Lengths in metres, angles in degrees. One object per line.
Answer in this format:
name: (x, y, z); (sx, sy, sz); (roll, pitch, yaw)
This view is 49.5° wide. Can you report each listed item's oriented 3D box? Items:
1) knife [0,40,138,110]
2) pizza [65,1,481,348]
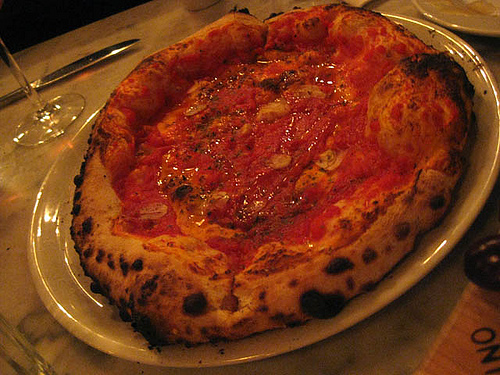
knife: (-0.634, -0.399, 1.948); (0.595, 0.033, 0.073); (-30, 50, -4)
pizza: (0.018, -0.105, 1.476); (1.089, 0.480, 0.909); (-17, 37, -13)
